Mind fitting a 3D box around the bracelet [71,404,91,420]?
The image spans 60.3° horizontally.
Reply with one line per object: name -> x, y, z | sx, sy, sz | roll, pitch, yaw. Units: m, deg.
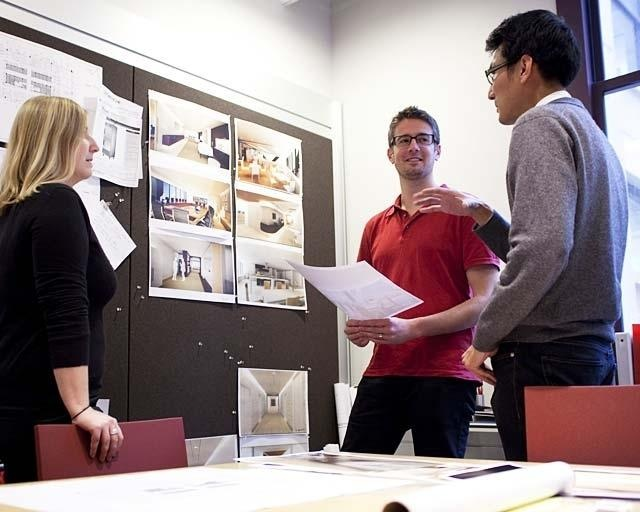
bracelet -> -0.574, 0.380, 1.332 | 0.033, 0.008, 0.034 | -35, -16, 22

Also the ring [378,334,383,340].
ring -> 0.211, 0.281, 1.909 | 0.022, 0.011, 0.039 | 1, 4, 5

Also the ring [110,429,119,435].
ring -> -0.471, 0.404, 1.265 | 0.009, 0.013, 0.016 | -8, -10, 38

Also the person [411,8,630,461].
person -> 0.587, -0.094, 1.462 | 0.455, 1.230, 0.330 | -5, -8, 22
